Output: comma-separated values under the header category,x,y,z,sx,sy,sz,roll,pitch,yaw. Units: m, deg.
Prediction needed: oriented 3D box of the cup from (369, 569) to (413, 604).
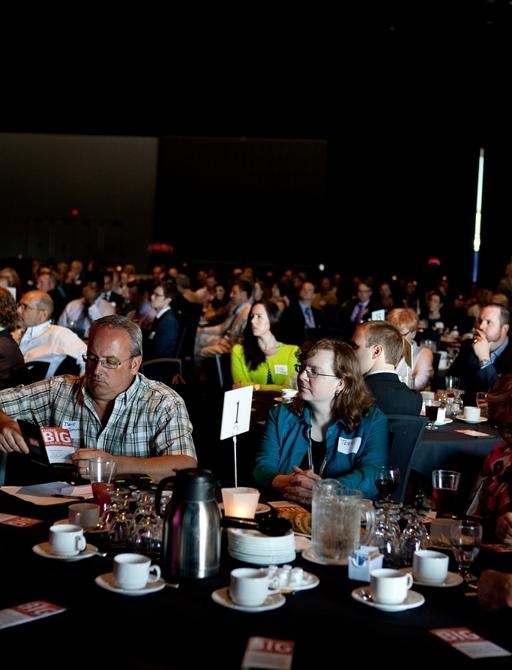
category,x,y,z,sx,sy,sz,roll,pitch,yaw
cup,0.239,0.443,0.970,0.077,0.048,0.056,4,-10,-13

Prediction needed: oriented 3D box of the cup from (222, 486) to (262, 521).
category,x,y,z,sx,sy,sz,roll,pitch,yaw
cup,-0.035,0.438,1.437,0.087,0.071,0.095,0,-1,0

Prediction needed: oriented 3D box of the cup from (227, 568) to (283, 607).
category,x,y,z,sx,sy,sz,roll,pitch,yaw
cup,-0.014,0.429,0.921,0.051,0.036,0.075,-3,-16,10

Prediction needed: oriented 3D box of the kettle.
category,x,y,z,sx,sy,sz,roll,pitch,yaw
kettle,-0.141,0.387,1.119,0.148,0.189,0.121,2,-10,-5

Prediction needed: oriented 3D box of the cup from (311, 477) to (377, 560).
category,x,y,z,sx,sy,sz,roll,pitch,yaw
cup,0.179,0.422,1.272,0.185,0.170,0.114,3,1,31

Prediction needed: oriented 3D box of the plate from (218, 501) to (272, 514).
category,x,y,z,sx,sy,sz,roll,pitch,yaw
plate,-0.013,0.486,1.527,0.061,0.013,0.060,-4,0,24

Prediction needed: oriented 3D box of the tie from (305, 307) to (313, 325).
category,x,y,z,sx,sy,sz,roll,pitch,yaw
tie,0.990,-0.387,10.135,0.117,0.300,0.223,-16,9,27

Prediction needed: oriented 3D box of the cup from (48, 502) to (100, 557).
category,x,y,z,sx,sy,sz,roll,pitch,yaw
cup,-0.417,0.444,1.242,0.075,0.074,0.116,3,9,-20

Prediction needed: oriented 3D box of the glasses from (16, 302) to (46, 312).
category,x,y,z,sx,sy,sz,roll,pitch,yaw
glasses,-2.045,-0.263,4.859,0.187,0.048,0.181,15,-9,-42

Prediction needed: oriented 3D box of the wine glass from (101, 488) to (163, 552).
category,x,y,z,sx,sy,sz,roll,pitch,yaw
wine glass,-0.293,0.431,1.252,0.174,0.140,0.071,-7,-19,42

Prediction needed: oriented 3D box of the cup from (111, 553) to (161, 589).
category,x,y,z,sx,sy,sz,roll,pitch,yaw
cup,-0.229,0.422,1.006,0.089,0.048,0.061,3,-14,-7
